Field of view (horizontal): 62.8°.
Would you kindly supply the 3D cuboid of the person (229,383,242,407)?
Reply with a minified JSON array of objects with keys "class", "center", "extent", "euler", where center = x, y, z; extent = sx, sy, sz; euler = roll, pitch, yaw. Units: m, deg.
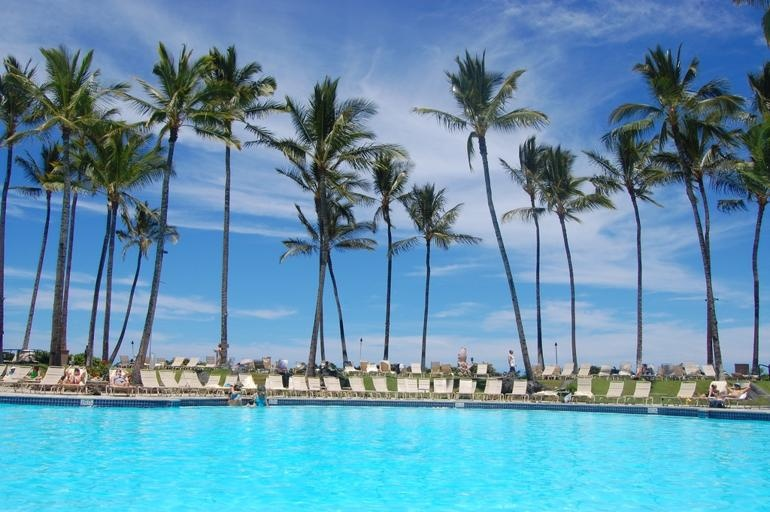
[{"class":"person","center":[-7.063,6.584,29.742],"extent":[0.563,0.945,1.076],"euler":[4,-15,-13]}]

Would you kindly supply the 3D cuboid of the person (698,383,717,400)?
[{"class":"person","center":[15.158,6.338,29.556],"extent":[0.800,0.718,2.011],"euler":[-6,-15,26]}]

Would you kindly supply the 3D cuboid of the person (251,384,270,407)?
[{"class":"person","center":[-5.924,6.660,30.095],"extent":[0.715,1.034,1.238],"euler":[3,-15,-11]}]

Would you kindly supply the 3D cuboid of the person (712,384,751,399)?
[{"class":"person","center":[15.739,6.190,28.764],"extent":[1.832,0.706,1.234],"euler":[13,-20,-40]}]
